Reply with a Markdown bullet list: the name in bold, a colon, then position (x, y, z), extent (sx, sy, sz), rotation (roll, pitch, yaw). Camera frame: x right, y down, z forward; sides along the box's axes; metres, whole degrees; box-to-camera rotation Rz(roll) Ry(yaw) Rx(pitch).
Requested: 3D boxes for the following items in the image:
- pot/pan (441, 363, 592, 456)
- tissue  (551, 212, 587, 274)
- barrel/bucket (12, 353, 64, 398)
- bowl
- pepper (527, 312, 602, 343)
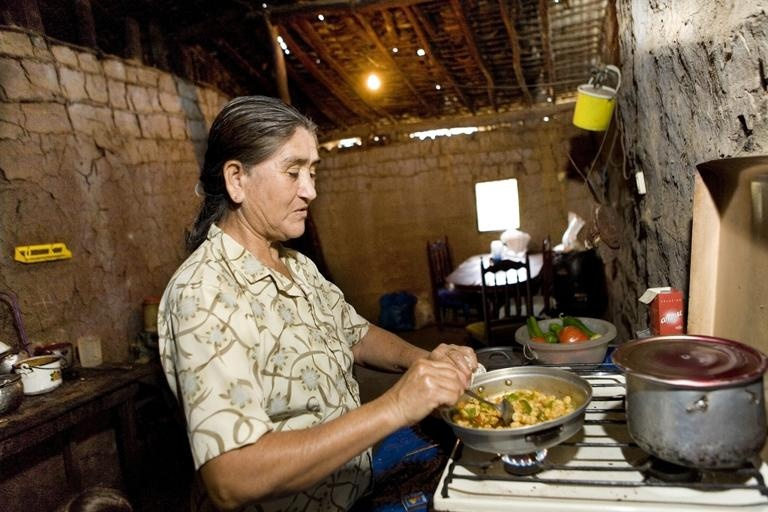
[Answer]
- **pot/pan**: position (0.482, 0.548, 2.086), extent (0.545, 0.305, 0.602), rotation (1, -3, 4)
- **tissue **: position (1.315, -0.092, 3.662), extent (0.185, 0.396, 0.176), rotation (10, 8, 24)
- **barrel/bucket**: position (-2.000, 0.675, 3.021), extent (0.203, 0.213, 0.265), rotation (0, 9, 23)
- **bowl**: position (0.938, 0.445, 2.702), extent (0.474, 0.127, 0.484), rotation (-7, 1, 0)
- **pepper**: position (0.958, 0.355, 2.765), extent (0.291, 0.139, 0.283), rotation (-2, 3, -26)
